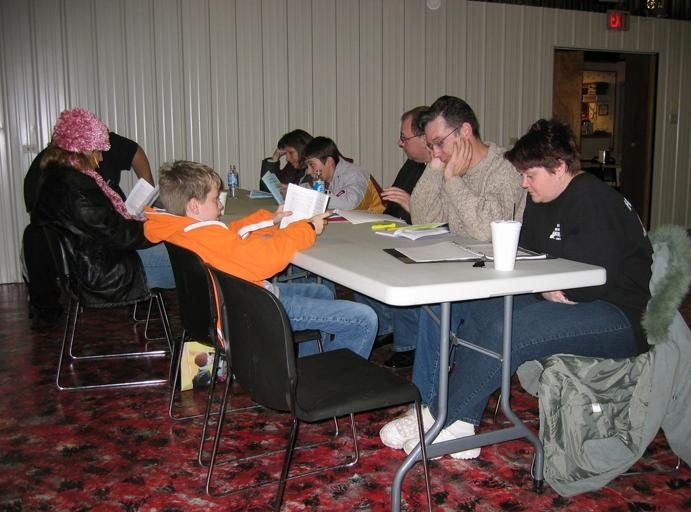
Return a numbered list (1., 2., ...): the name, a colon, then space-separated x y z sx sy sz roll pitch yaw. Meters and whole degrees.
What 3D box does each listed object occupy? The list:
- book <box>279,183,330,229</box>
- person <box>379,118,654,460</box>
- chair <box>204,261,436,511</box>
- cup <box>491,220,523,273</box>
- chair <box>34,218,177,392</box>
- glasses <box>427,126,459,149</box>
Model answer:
1. book: -0.201 -0.244 2.542 0.210 0.227 0.064 14 2 25
2. person: 0.766 0.104 2.308 1.032 1.395 0.683 -2 2 -2
3. chair: -0.193 0.304 2.333 0.925 1.293 0.753 -7 14 -24
4. cup: 0.559 -0.040 1.894 0.106 0.168 0.112 -1 14 0
5. chair: -1.437 0.246 3.269 0.668 0.998 0.572 -12 9 -36
6. glasses: 0.543 -0.644 2.899 0.115 0.037 0.113 -29 12 -10
